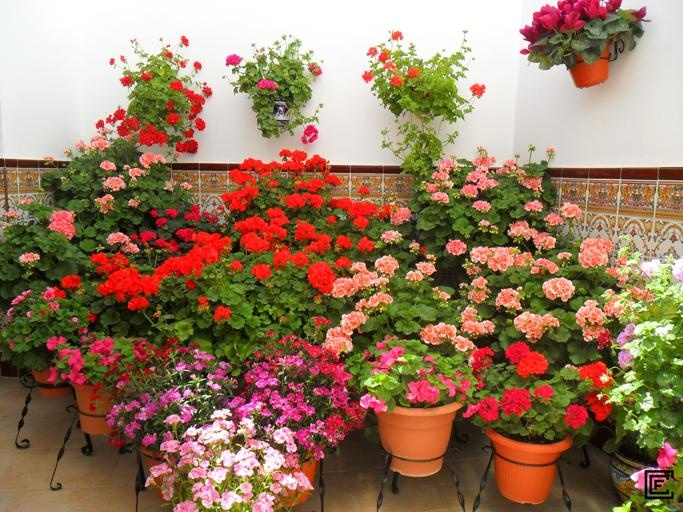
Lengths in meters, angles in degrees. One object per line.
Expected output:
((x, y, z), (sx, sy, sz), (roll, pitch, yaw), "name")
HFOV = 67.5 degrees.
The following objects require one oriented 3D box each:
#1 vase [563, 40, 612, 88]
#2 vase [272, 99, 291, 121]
((1.728, -1.325, 3.554), (0.251, 0.199, 0.251), (1, 1, 10), "vase")
((-0.534, -1.278, 4.503), (0.162, 0.199, 0.170), (6, 7, 28), "vase")
